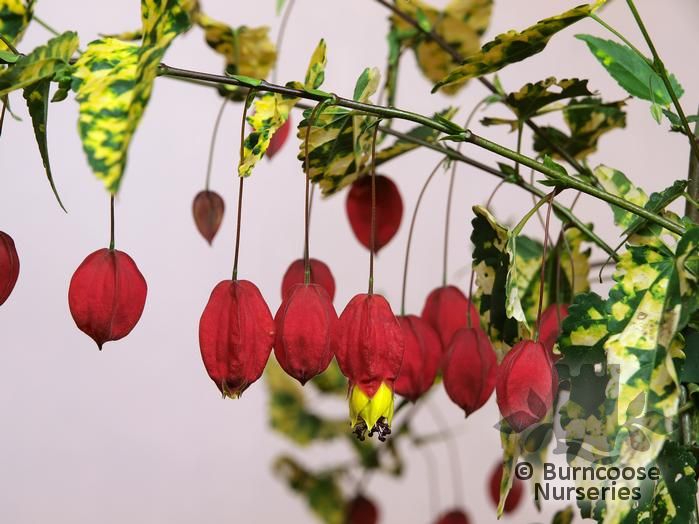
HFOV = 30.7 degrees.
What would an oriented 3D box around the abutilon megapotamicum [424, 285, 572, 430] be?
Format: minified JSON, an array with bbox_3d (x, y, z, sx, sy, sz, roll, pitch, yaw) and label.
[{"bbox_3d":[0.156,0.091,1.299,0.149,0.184,0.068,14,4,30],"label":"abutilon megapotamicum"}]

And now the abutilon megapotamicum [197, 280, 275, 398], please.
[{"bbox_3d":[-0.107,0.072,1.243,0.065,0.117,0.072,-1,9,-40],"label":"abutilon megapotamicum"}]

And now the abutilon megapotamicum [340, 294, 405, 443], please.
[{"bbox_3d":[0.023,0.098,1.238,0.062,0.117,0.065,-9,-31,18],"label":"abutilon megapotamicum"}]
